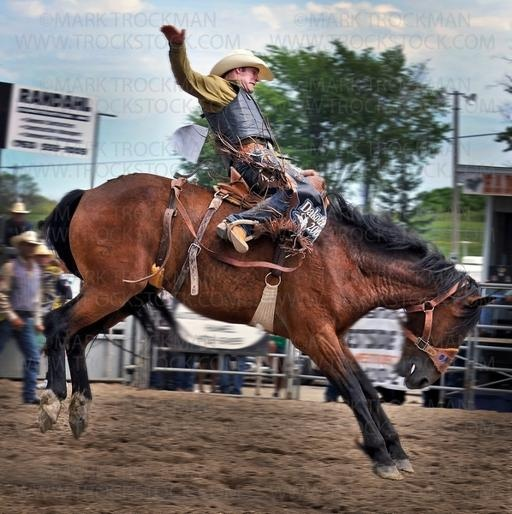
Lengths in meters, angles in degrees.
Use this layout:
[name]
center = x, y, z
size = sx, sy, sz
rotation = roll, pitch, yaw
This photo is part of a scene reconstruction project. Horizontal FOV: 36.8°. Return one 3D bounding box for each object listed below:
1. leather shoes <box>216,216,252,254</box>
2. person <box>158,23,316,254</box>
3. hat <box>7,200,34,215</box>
[leather shoes]
center = -0.137, -0.168, 5.454
size = 0.176, 0.343, 0.130
rotation = -41, 29, 24
[person]
center = -0.055, -0.814, 5.702
size = 1.302, 1.560, 0.773
rotation = 6, 6, 3
[hat]
center = -2.270, -0.462, 7.385
size = 0.185, 0.080, 0.185
rotation = 1, 6, -4
